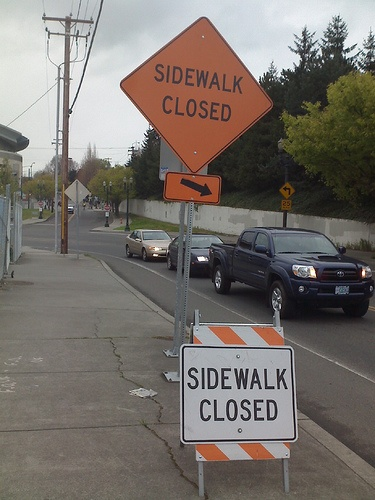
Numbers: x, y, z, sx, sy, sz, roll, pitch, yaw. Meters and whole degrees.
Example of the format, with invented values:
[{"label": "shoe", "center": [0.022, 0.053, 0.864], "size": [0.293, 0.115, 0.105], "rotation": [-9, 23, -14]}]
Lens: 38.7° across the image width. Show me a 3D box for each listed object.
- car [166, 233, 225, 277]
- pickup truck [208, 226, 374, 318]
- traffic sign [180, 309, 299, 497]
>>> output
[{"label": "car", "center": [0.289, 0.153, 18.614], "size": [0.862, 1.100, 2.360], "rotation": [1, 0, -13]}, {"label": "pickup truck", "center": [2.051, 0.355, 11.692], "size": [1.424, 1.889, 4.069], "rotation": [2, 3, -17]}, {"label": "traffic sign", "center": [0.351, 1.087, 3.750], "size": [0.680, 1.805, 0.877], "rotation": [1, -15, -3]}]
